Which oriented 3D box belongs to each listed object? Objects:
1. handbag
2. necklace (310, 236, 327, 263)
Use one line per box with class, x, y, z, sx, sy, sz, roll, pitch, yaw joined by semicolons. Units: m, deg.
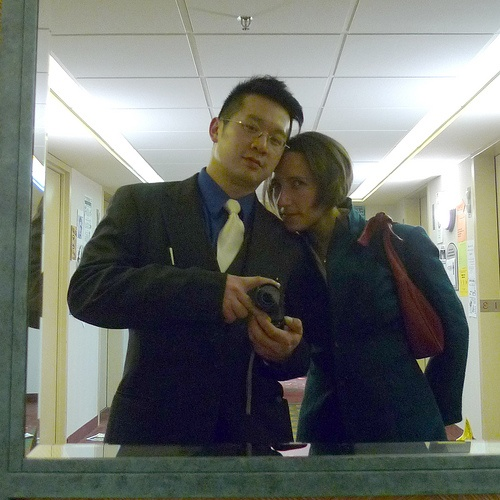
handbag;0.331;0.085;1.064;0.147;0.299;0.053;2;-13;-23
necklace;0.154;-0.005;1.087;0.033;0.043;0.044;-20;-6;8
